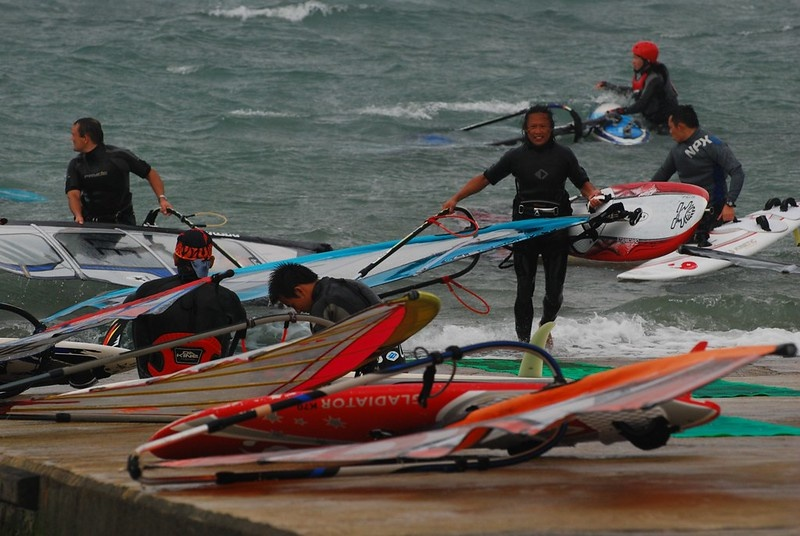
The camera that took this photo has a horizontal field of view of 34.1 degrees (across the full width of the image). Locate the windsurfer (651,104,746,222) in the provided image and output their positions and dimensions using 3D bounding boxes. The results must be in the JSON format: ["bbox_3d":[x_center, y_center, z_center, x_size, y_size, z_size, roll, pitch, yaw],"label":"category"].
[{"bbox_3d":[4.689,-1.593,20.183,1.309,1.870,0.793,5,21,24],"label":"windsurfer"}]

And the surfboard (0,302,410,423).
[{"bbox_3d":[-2.228,1.139,15.128,8.188,0.708,0.740,-5,36,8],"label":"surfboard"}]

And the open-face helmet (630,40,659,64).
[{"bbox_3d":[4.582,-4.037,24.344,0.436,0.359,0.383,-1,15,4],"label":"open-face helmet"}]

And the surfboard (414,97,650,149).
[{"bbox_3d":[3.620,-2.801,25.398,6.713,0.417,1.354,-3,23,-9],"label":"surfboard"}]

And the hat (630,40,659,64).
[{"bbox_3d":[4.585,-4.035,24.324,0.428,0.358,0.351,-2,15,0],"label":"hat"}]

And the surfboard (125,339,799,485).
[{"bbox_3d":[0.294,1.678,14.271,6.021,0.601,2.493,1,0,-5],"label":"surfboard"}]

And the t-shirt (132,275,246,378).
[{"bbox_3d":[-2.538,0.732,15.486,2.291,1.095,0.845,2,15,-6],"label":"t-shirt"}]
